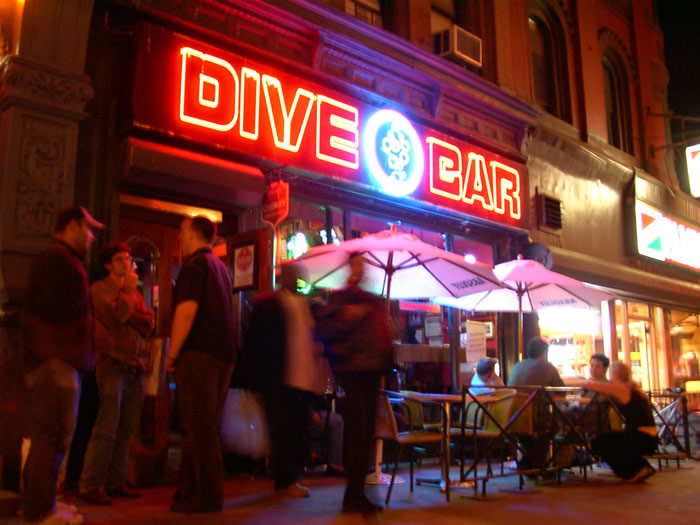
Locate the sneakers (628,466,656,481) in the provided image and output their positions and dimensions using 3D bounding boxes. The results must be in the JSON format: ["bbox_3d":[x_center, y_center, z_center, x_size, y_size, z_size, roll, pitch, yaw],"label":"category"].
[{"bbox_3d":[3.987,2.856,9.229,0.536,0.203,0.235,9,-10,-43],"label":"sneakers"}]

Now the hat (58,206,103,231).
[{"bbox_3d":[-2.582,-0.433,6.538,0.401,0.233,0.252,-10,2,-35],"label":"hat"}]

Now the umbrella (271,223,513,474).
[{"bbox_3d":[0.493,1.182,8.981,2.818,1.401,2.683,15,-26,-39],"label":"umbrella"}]

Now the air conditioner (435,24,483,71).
[{"bbox_3d":[2.027,-4.037,12.753,0.933,0.643,0.505,4,-3,-42],"label":"air conditioner"}]

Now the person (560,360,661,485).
[{"bbox_3d":[3.762,2.177,9.366,0.814,1.563,0.532,0,-8,11],"label":"person"}]
